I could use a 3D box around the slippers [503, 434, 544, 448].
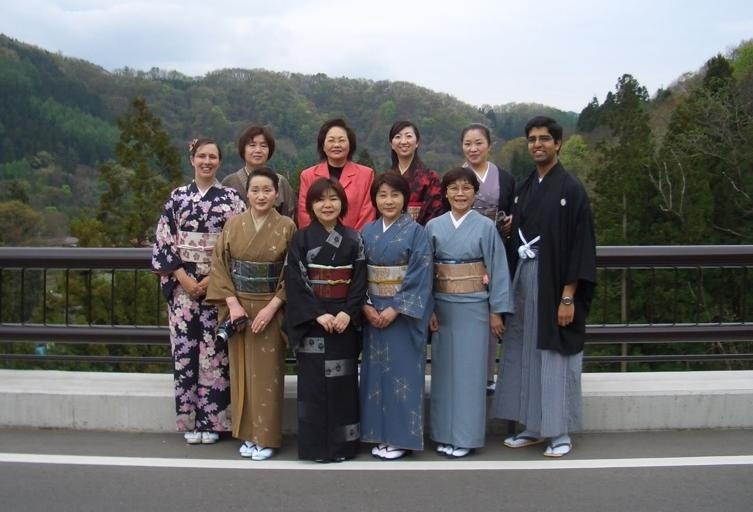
[{"bbox_3d":[1.521,1.939,8.258,0.294,0.067,0.154,1,-2,-4],"label":"slippers"}]

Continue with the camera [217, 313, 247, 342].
[{"bbox_3d":[-1.461,0.722,8.000,0.275,0.275,0.183,0,2,29],"label":"camera"}]

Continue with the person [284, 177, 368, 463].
[{"bbox_3d":[-0.508,0.616,8.021,0.808,2.912,0.325,-1,1,-5],"label":"person"}]

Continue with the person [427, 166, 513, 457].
[{"bbox_3d":[0.928,0.565,8.117,0.792,2.977,0.272,-1,1,1],"label":"person"}]

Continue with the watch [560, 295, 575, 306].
[{"bbox_3d":[1.942,0.445,8.038,0.097,0.097,0.097,-15,-26,35],"label":"watch"}]

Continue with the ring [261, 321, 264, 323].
[{"bbox_3d":[-1.150,0.652,7.990,0.018,0.017,0.018,-1,-2,0],"label":"ring"}]

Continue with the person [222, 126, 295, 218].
[{"bbox_3d":[-1.330,-0.775,8.733,0.914,1.435,0.413,-1,-5,-12],"label":"person"}]
